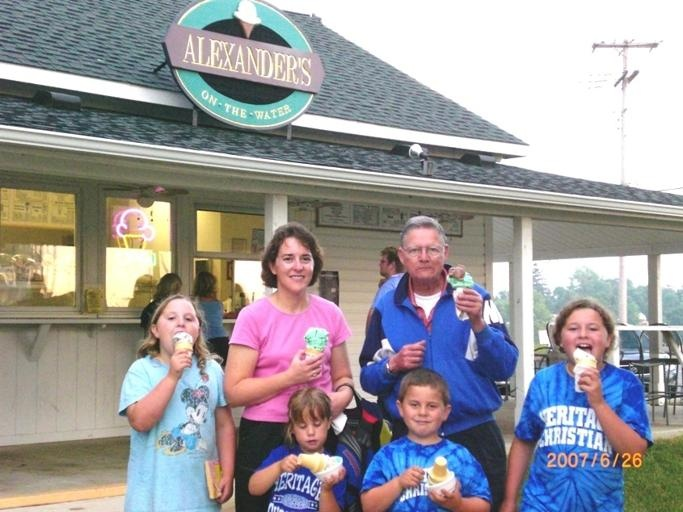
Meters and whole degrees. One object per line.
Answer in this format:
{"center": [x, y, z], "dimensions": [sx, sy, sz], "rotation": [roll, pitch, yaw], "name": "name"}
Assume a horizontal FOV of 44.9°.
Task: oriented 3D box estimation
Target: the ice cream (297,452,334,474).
{"center": [-0.175, 1.369, 5.523], "dimensions": [0.187, 0.131, 0.072], "rotation": [19, -40, 14], "name": "ice cream"}

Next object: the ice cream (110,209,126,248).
{"center": [-2.655, -0.333, 9.810], "dimensions": [0.091, 0.360, 0.268], "rotation": [1, 4, 38], "name": "ice cream"}

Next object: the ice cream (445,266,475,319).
{"center": [0.824, 0.252, 5.757], "dimensions": [0.188, 0.344, 0.381], "rotation": [4, 2, 8], "name": "ice cream"}

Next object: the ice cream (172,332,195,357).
{"center": [-1.082, 0.596, 5.628], "dimensions": [0.131, 0.135, 0.128], "rotation": [3, -27, -18], "name": "ice cream"}

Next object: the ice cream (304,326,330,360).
{"center": [-0.179, 0.579, 5.641], "dimensions": [0.154, 0.164, 0.185], "rotation": [4, -11, -11], "name": "ice cream"}

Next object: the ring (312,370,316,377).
{"center": [-0.188, 0.798, 5.598], "dimensions": [0.034, 0.030, 0.008], "rotation": [1, 2, -26], "name": "ring"}

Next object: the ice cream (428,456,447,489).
{"center": [0.622, 1.408, 5.441], "dimensions": [0.172, 0.180, 0.167], "rotation": [8, 23, -1], "name": "ice cream"}
